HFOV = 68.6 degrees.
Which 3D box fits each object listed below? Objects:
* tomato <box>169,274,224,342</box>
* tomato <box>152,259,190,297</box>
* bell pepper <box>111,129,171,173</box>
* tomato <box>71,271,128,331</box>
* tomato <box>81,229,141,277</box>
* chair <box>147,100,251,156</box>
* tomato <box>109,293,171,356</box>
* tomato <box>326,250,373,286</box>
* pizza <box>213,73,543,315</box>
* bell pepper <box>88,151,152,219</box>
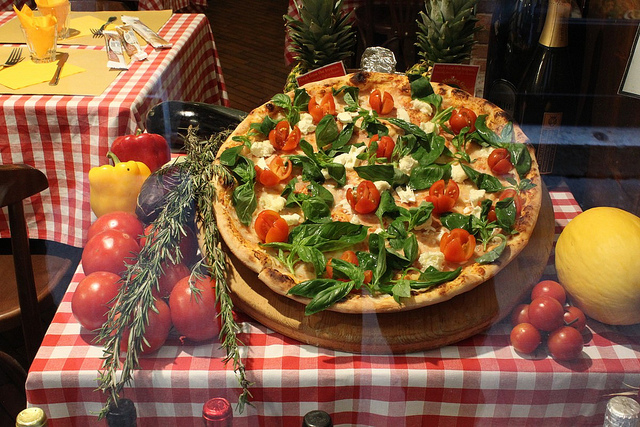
[{"bbox_3d":[-0.236,0.176,0.928,0.099,0.126,0.105,3,3,33],"label":"tomato"},{"bbox_3d":[-0.273,0.131,0.906,0.060,0.064,0.074,6,56,5],"label":"tomato"},{"bbox_3d":[-0.441,-0.141,1.210,0.131,0.152,0.130,-23,13,-23],"label":"bell pepper"},{"bbox_3d":[-0.408,0.169,0.918,0.113,0.120,0.115,-4,4,-33],"label":"tomato"},{"bbox_3d":[-0.398,0.075,0.965,0.089,0.102,0.098,-6,43,41],"label":"tomato"},{"bbox_3d":[-0.392,-0.259,1.389,0.278,0.119,0.124,7,-12,16],"label":"chair"},{"bbox_3d":[-0.307,0.191,0.874,0.100,0.122,0.098,6,2,-3],"label":"tomato"},{"bbox_3d":[0.052,0.089,0.867,0.068,0.059,0.070,-8,32,-11],"label":"tomato"},{"bbox_3d":[0.109,-0.007,0.993,0.514,0.097,0.534,-6,53,-1],"label":"pizza"},{"bbox_3d":[-0.473,-0.053,1.166,0.126,0.150,0.125,2,33,5],"label":"bell pepper"}]
